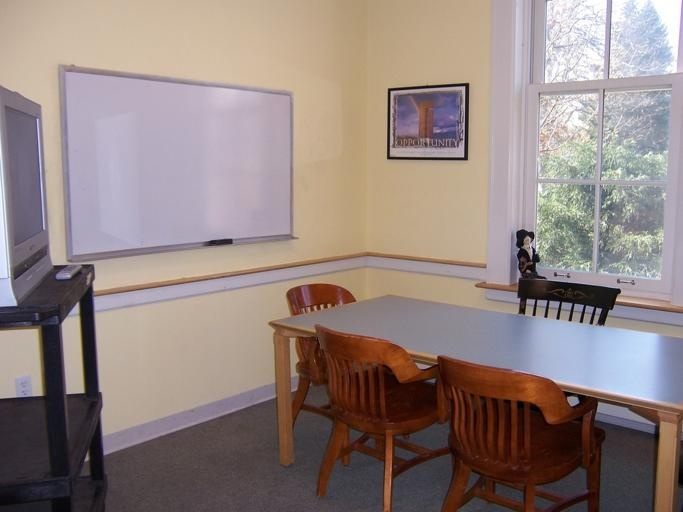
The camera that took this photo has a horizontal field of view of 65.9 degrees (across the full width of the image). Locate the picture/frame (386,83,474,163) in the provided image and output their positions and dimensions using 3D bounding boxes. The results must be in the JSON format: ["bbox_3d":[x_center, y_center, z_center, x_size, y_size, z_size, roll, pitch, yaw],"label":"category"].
[{"bbox_3d":[0.709,-1.037,4.085,0.618,0.537,0.025,7,14,38],"label":"picture/frame"}]

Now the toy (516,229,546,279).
[{"bbox_3d":[1.333,-0.015,3.718,0.220,0.332,0.219,-2,11,-6],"label":"toy"}]

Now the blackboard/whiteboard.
[{"bbox_3d":[-1.076,-0.587,3.312,1.249,0.900,0.085,-11,18,-40],"label":"blackboard/whiteboard"}]
